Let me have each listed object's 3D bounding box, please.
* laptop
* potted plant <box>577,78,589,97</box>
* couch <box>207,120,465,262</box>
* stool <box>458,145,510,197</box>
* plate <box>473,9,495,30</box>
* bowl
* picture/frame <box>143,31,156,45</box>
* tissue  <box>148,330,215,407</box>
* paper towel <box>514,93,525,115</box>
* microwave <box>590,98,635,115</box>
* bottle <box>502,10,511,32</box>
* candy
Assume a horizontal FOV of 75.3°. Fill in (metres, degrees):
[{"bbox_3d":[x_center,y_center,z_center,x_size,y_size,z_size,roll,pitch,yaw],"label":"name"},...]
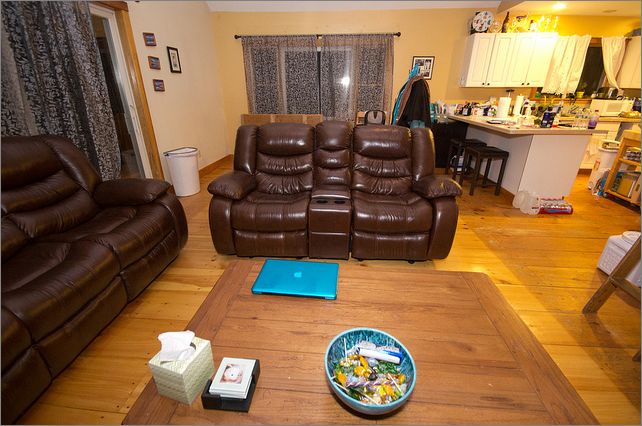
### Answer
[{"bbox_3d":[-0.211,0.574,3.582,0.704,0.099,0.471,5,30,9],"label":"laptop"},{"bbox_3d":[4.342,-2.051,6.910,0.157,0.285,0.088,7,26,16],"label":"potted plant"},{"bbox_3d":[0.131,-0.276,4.667,2.578,1.251,1.226,1,25,3],"label":"couch"},{"bbox_3d":[2.351,-0.612,6.041,0.552,0.656,0.822,2,15,-1],"label":"stool"},{"bbox_3d":[2.522,-2.968,6.470,0.307,0.302,0.138,8,26,17],"label":"plate"},{"bbox_3d":[0.345,1.169,3.035,0.612,0.284,0.605,4,34,-3],"label":"bowl"},{"bbox_3d":[-2.260,-2.270,5.426,0.068,0.185,0.192,8,21,27],"label":"picture/frame"},{"bbox_3d":[-1.017,1.130,3.055,0.416,0.431,0.293,6,26,14],"label":"tissue "},{"bbox_3d":[2.987,-1.627,6.272,0.125,0.284,0.383,10,27,22],"label":"paper towel"},{"bbox_3d":[4.505,-1.649,6.429,0.465,0.276,0.314,2,30,12],"label":"microwave"},{"bbox_3d":[2.944,-3.039,6.625,0.093,0.290,0.265,9,26,20],"label":"bottle"},{"bbox_3d":[0.346,1.135,2.995,0.418,0.188,0.395,-9,35,-16],"label":"candy"}]
